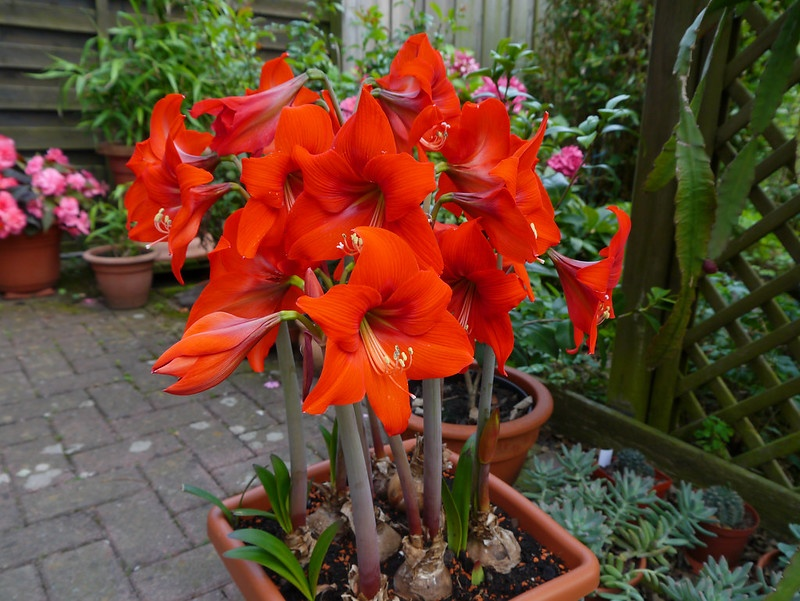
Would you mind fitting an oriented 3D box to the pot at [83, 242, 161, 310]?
[{"bbox_3d":[-2.179,-0.167,4.601,0.464,0.397,0.475,5,9,-1],"label":"pot"}]

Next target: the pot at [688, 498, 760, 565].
[{"bbox_3d":[1.266,0.915,2.271,0.211,0.181,0.209,2,19,-1],"label":"pot"}]

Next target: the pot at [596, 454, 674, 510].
[{"bbox_3d":[1.048,0.799,2.502,0.171,0.104,0.265,-5,18,-18],"label":"pot"}]

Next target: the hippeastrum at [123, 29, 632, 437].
[{"bbox_3d":[-0.038,-0.113,1.397,1.101,0.993,0.719,-7,26,-30],"label":"hippeastrum"}]
